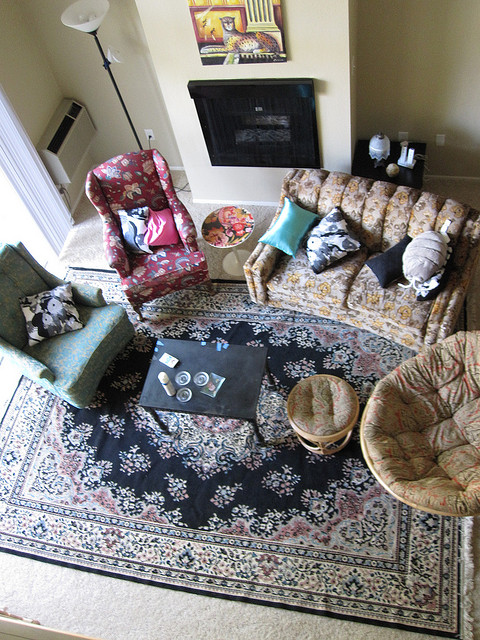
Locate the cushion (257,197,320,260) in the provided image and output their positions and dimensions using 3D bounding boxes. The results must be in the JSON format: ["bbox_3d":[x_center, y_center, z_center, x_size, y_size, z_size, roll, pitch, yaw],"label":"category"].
[{"bbox_3d":[0.377,-0.651,3.549,0.380,0.141,0.502,29,76,24],"label":"cushion"}]

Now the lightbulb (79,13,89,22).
[{"bbox_3d":[-1.140,-2.211,3.515,0.063,0.055,0.036,-25,50,0],"label":"lightbulb"}]

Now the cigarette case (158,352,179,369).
[{"bbox_3d":[-0.467,0.265,3.137,0.119,0.027,0.077,30,77,28],"label":"cigarette case"}]

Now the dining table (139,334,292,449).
[{"bbox_3d":[-0.086,0.436,3.425,1.209,0.864,0.654,8,69,17],"label":"dining table"}]

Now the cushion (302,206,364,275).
[{"bbox_3d":[0.630,-0.571,3.444,0.384,0.231,0.355,-23,50,1],"label":"cushion"}]

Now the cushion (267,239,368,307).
[{"bbox_3d":[0.548,-0.314,3.431,0.652,0.170,0.519,19,73,22],"label":"cushion"}]

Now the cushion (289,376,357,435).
[{"bbox_3d":[0.489,0.496,2.831,0.386,0.082,0.410,-5,52,15],"label":"cushion"}]

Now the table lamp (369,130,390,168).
[{"bbox_3d":[1.113,-1.391,3.934,0.203,0.289,0.128,28,69,34],"label":"table lamp"}]

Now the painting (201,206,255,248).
[{"bbox_3d":[-0.086,-0.728,3.721,0.384,0.113,0.473,-10,50,11],"label":"painting"}]

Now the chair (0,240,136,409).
[{"bbox_3d":[-1.268,0.082,3.583,0.985,0.915,0.811,26,71,8],"label":"chair"}]

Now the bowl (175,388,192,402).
[{"bbox_3d":[-0.342,0.458,2.949,0.088,0.017,0.100,-31,50,-7],"label":"bowl"}]

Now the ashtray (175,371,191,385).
[{"bbox_3d":[-0.357,0.367,3.034,0.092,0.017,0.102,-40,51,-14],"label":"ashtray"}]

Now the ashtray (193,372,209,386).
[{"bbox_3d":[-0.240,0.366,3.000,0.109,0.013,0.096,5,55,22],"label":"ashtray"}]

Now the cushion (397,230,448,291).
[{"bbox_3d":[1.174,-0.352,3.069,0.247,0.139,0.368,32,97,27],"label":"cushion"}]

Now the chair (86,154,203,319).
[{"bbox_3d":[-0.785,-0.651,3.966,0.894,1.225,1.068,-19,62,-6],"label":"chair"}]

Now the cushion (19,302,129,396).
[{"bbox_3d":[-1.209,0.167,3.511,0.488,0.162,0.736,10,57,25],"label":"cushion"}]
